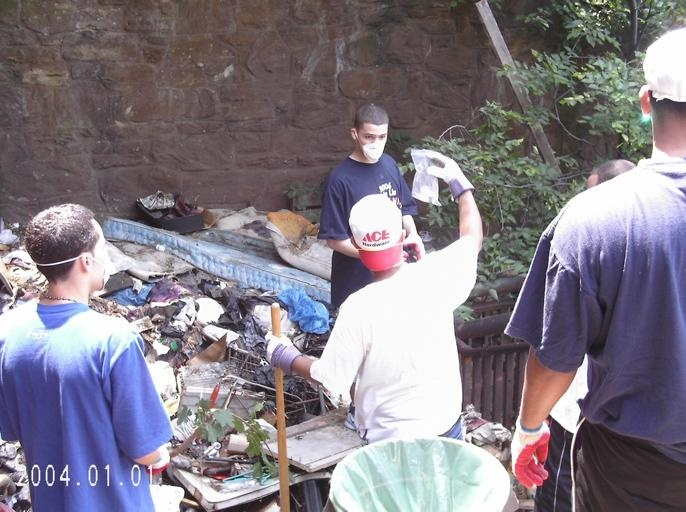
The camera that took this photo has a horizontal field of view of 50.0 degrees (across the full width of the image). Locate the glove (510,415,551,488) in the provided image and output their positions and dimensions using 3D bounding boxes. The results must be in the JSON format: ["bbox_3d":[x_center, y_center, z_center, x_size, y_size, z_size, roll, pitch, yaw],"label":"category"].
[{"bbox_3d":[0.927,0.993,3.647,0.190,0.368,0.097,-4,27,-6],"label":"glove"}]

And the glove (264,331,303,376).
[{"bbox_3d":[-0.321,0.548,4.187,0.229,0.158,0.306,-14,18,-24],"label":"glove"}]

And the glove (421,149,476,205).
[{"bbox_3d":[0.682,-0.540,4.704,0.241,0.406,0.163,-32,9,-10],"label":"glove"}]

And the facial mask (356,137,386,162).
[{"bbox_3d":[0.204,-0.793,5.431,0.138,0.098,0.152,-14,43,-25],"label":"facial mask"}]

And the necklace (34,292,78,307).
[{"bbox_3d":[-1.405,0.223,3.663,0.190,0.039,0.017,15,11,4],"label":"necklace"}]

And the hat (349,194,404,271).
[{"bbox_3d":[0.182,-0.107,3.824,0.234,0.198,0.413,-6,54,16],"label":"hat"}]
